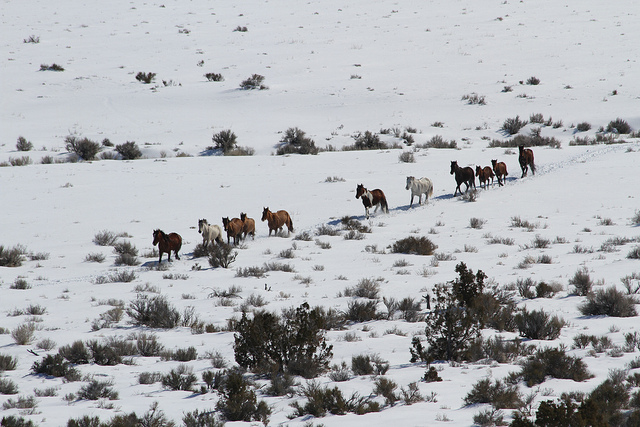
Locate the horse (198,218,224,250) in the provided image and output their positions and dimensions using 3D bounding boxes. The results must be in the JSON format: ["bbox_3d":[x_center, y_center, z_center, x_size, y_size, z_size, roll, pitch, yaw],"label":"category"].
[{"bbox_3d":[-8.496,1.546,88.788,1.789,2.169,1.061,-23,37,-33],"label":"horse"}]

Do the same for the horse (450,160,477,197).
[{"bbox_3d":[11.809,-2.749,95.052,1.125,2.799,3.885,5,8,37],"label":"horse"}]

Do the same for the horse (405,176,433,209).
[{"bbox_3d":[8.119,-1.752,93.757,1.155,2.618,4.263,7,11,36],"label":"horse"}]

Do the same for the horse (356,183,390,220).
[{"bbox_3d":[4.248,-0.998,93.091,1.035,2.892,4.007,1,4,40],"label":"horse"}]

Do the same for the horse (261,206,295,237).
[{"bbox_3d":[-3.375,0.818,91.052,1.063,2.381,3.762,0,2,35],"label":"horse"}]

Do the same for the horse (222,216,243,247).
[{"bbox_3d":[-6.682,1.329,89.460,1.528,2.009,1.358,-14,33,-22],"label":"horse"}]

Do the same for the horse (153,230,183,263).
[{"bbox_3d":[-11.607,2.504,87.686,2.119,2.434,1.567,-9,32,-14],"label":"horse"}]

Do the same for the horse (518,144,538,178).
[{"bbox_3d":[17.440,-4.279,97.156,1.016,2.612,4.459,-2,3,23],"label":"horse"}]

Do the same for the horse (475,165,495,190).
[{"bbox_3d":[13.817,-3.000,95.574,1.796,2.034,1.072,-22,37,-32],"label":"horse"}]
